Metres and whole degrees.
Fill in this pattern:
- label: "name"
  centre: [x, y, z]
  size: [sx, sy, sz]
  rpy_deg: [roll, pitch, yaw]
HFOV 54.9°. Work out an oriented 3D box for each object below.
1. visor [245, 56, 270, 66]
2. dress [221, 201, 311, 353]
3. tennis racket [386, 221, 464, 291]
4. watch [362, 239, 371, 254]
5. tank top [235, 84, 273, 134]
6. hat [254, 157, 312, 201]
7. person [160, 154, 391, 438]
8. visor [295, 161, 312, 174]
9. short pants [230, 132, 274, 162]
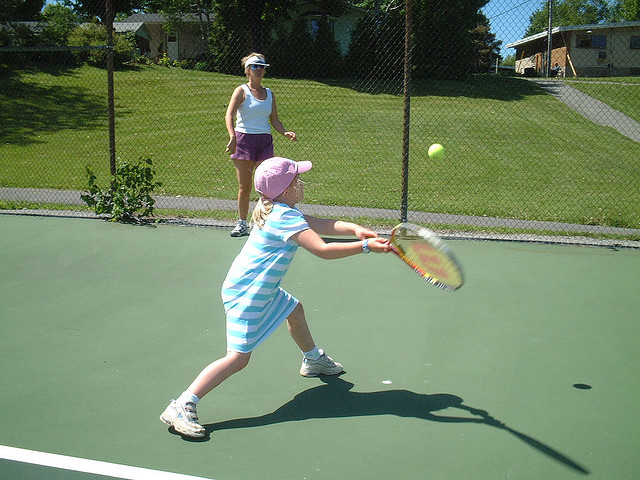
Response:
- label: "visor"
  centre: [-0.776, -2.188, 7.552]
  size: [0.260, 0.112, 0.190]
  rpy_deg: [-4, 14, -18]
- label: "dress"
  centre: [-0.382, 0.279, 4.309]
  size: [0.592, 1.060, 0.350]
  rpy_deg: [-2, 13, -9]
- label: "tennis racket"
  centre: [0.652, 0.087, 4.131]
  size: [0.373, 0.453, 0.687]
  rpy_deg: [-3, 14, -13]
- label: "watch"
  centre: [0.297, 0.039, 4.070]
  size: [0.052, 0.086, 0.076]
  rpy_deg: [-4, 25, 35]
- label: "tank top"
  centre: [-0.833, -1.617, 7.651]
  size: [0.537, 0.689, 0.370]
  rpy_deg: [-6, 14, -40]
- label: "hat"
  centre: [-0.349, -0.431, 4.416]
  size: [0.306, 0.232, 0.455]
  rpy_deg: [-12, 14, 42]
- label: "person"
  centre: [-0.353, 0.345, 4.292]
  size: [1.365, 1.768, 0.652]
  rpy_deg: [-3, 14, -14]
- label: "visor"
  centre: [-0.115, -0.508, 4.371]
  size: [0.108, 0.034, 0.076]
  rpy_deg: [-13, 53, -12]
- label: "short pants"
  centre: [-0.842, -1.177, 7.759]
  size: [0.579, 0.458, 0.337]
  rpy_deg: [-2, 14, -21]
